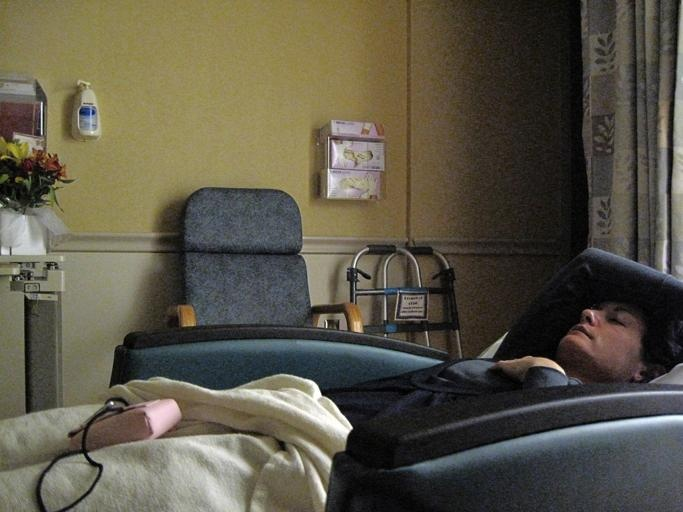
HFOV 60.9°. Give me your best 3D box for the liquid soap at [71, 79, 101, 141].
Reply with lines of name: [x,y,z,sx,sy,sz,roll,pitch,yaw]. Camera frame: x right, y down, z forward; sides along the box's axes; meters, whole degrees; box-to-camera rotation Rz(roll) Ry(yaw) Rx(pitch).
liquid soap: [-1.079,-0.613,2.448,0.107,0.245,0.091,-2,4,-23]

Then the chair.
chair: [-0.453,0.045,2.650,0.646,0.801,0.706,2,-10,-19]
